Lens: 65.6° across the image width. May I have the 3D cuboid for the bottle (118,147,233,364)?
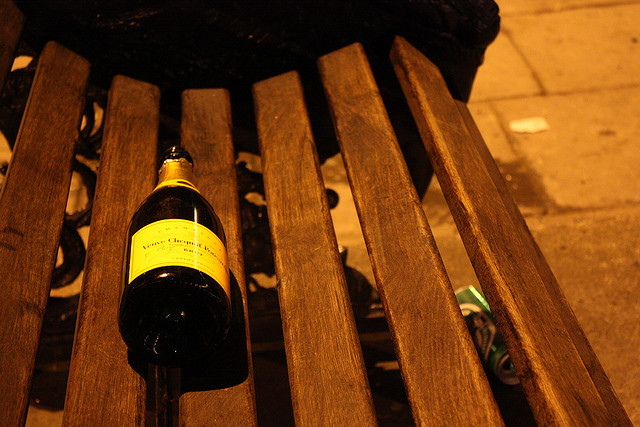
[{"bbox_3d":[-0.339,0.068,1.206,0.269,0.567,0.220,3,-39,-10],"label":"bottle"}]
